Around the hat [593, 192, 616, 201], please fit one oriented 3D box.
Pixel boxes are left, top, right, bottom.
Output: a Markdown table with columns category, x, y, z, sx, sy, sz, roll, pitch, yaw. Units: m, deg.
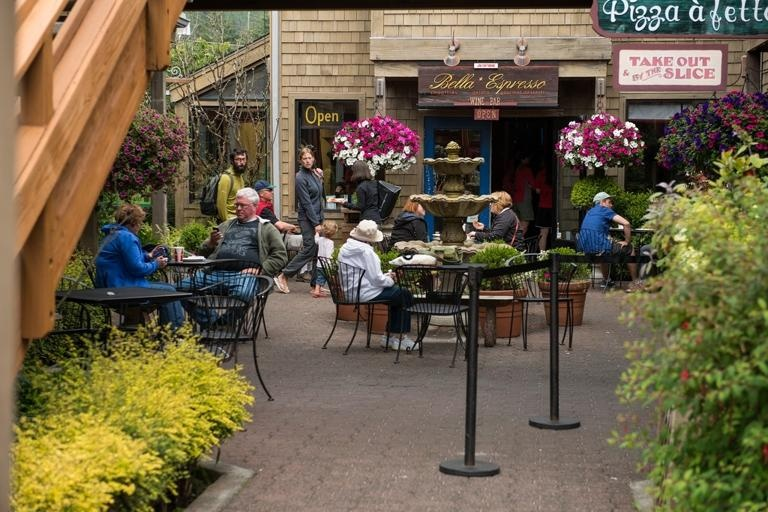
| category | x | y | z | sx | sy | sz | roll | pitch | yaw |
| --- | --- | --- | --- | --- | --- | --- | --- | --- | --- |
| hat | 3.251 | -0.878 | 12.931 | 0.219 | 0.121 | 0.164 | -4 | 6 | -5 |

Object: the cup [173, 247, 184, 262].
| category | x | y | z | sx | sy | sz | roll | pitch | yaw |
| --- | --- | --- | --- | --- | --- | --- | --- | --- | --- |
| cup | -2.076 | -0.015 | 8.780 | 0.129 | 0.146 | 0.137 | 0 | -2 | 0 |

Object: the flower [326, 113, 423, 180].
| category | x | y | z | sx | sy | sz | roll | pitch | yaw |
| --- | --- | --- | --- | --- | --- | --- | --- | --- | --- |
| flower | -0.134 | -1.897 | 14.655 | 1.070 | 0.958 | 1.120 | 3 | 17 | 8 |

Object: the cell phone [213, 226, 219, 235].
| category | x | y | z | sx | sy | sz | roll | pitch | yaw |
| --- | --- | --- | --- | --- | --- | --- | --- | --- | --- |
| cell phone | -1.795 | -0.281 | 9.320 | 0.056 | 0.068 | 0.074 | -2 | -9 | -2 |

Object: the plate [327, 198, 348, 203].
| category | x | y | z | sx | sy | sz | roll | pitch | yaw |
| --- | --- | --- | --- | --- | --- | --- | --- | --- | --- |
| plate | -0.805 | -0.952 | 14.880 | 0.191 | 0.112 | 0.375 | -1 | 3 | -28 |

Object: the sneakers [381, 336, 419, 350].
| category | x | y | z | sx | sy | sz | roll | pitch | yaw |
| --- | --- | --- | --- | --- | --- | --- | --- | --- | --- |
| sneakers | 0.163 | 0.942 | 9.404 | 0.404 | 0.205 | 0.159 | 2 | -1 | 13 |

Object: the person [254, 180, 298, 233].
| category | x | y | z | sx | sy | sz | roll | pitch | yaw |
| --- | --- | --- | --- | --- | --- | --- | --- | --- | --- |
| person | -1.798 | -0.757 | 13.683 | 0.801 | 1.114 | 0.766 | -3 | 7 | -13 |

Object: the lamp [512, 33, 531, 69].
| category | x | y | z | sx | sy | sz | roll | pitch | yaw |
| --- | --- | --- | --- | --- | --- | --- | --- | --- | --- |
| lamp | 2.405 | -3.550 | 15.080 | 0.237 | 0.524 | 0.240 | 0 | -11 | 6 |

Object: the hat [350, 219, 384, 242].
| category | x | y | z | sx | sy | sz | roll | pitch | yaw |
| --- | --- | --- | --- | --- | --- | --- | --- | --- | --- |
| hat | -0.171 | -0.262 | 9.505 | 0.251 | 0.125 | 0.270 | -2 | 30 | -15 |

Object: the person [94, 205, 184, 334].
| category | x | y | z | sx | sy | sz | roll | pitch | yaw |
| --- | --- | --- | --- | --- | --- | --- | --- | --- | --- |
| person | -2.251 | 0.109 | 7.786 | 0.708 | 1.140 | 1.109 | -1 | 5 | 2 |

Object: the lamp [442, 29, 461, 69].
| category | x | y | z | sx | sy | sz | roll | pitch | yaw |
| --- | --- | --- | --- | --- | --- | --- | --- | --- | --- |
| lamp | 1.196 | -3.613 | 15.231 | 0.272 | 0.551 | 0.366 | 3 | -23 | 3 |

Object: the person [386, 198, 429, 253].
| category | x | y | z | sx | sy | sz | roll | pitch | yaw |
| --- | --- | --- | --- | --- | --- | --- | --- | --- | --- |
| person | 0.345 | -0.472 | 11.918 | 0.488 | 0.828 | 0.856 | 0 | 8 | -20 |
